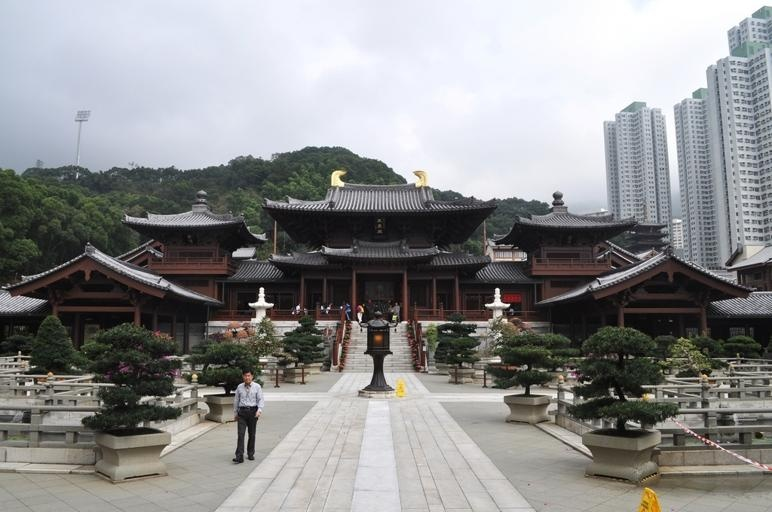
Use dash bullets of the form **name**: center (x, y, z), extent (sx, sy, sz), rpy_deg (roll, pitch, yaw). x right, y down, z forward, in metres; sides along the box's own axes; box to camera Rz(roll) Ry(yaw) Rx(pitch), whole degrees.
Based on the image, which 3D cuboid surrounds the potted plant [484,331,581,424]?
- **potted plant**: center (5.384, 4.707, 27.273), extent (2.556, 2.876, 3.044), rpy_deg (1, -5, -22)

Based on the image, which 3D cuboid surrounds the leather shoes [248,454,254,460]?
- **leather shoes**: center (-4.308, 6.340, 22.429), extent (0.222, 0.160, 0.170), rpy_deg (-2, 8, -18)

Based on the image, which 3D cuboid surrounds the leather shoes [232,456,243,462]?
- **leather shoes**: center (-4.722, 6.368, 22.223), extent (0.326, 0.274, 0.141), rpy_deg (6, -19, -1)

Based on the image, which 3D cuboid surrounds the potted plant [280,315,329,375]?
- **potted plant**: center (-4.337, 4.289, 36.263), extent (2.369, 2.308, 2.177), rpy_deg (11, 9, -7)

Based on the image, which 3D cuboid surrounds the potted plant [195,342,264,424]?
- **potted plant**: center (-6.377, 4.633, 27.030), extent (3.158, 3.094, 2.832), rpy_deg (6, -21, -23)
